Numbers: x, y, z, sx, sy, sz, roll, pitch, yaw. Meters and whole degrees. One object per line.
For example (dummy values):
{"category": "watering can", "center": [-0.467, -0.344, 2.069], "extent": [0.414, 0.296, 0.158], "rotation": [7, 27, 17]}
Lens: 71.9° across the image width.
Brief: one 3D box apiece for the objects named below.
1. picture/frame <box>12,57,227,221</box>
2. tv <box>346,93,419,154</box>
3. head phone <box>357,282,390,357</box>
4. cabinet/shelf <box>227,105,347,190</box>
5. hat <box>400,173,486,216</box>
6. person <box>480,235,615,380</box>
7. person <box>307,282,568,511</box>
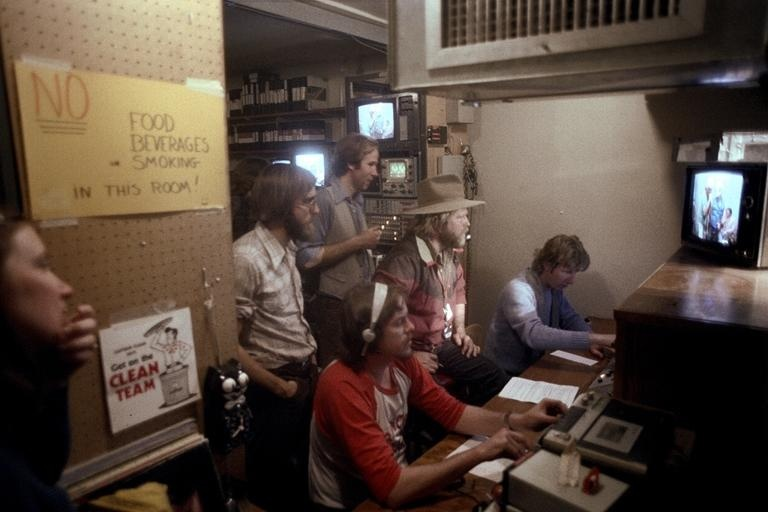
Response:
{"category": "picture/frame", "center": [-0.742, -0.336, 1.592], "extent": [0.020, 0.423, 0.644], "rotation": [11, 13, 33]}
{"category": "tv", "center": [0.024, -1.113, 4.455], "extent": [0.584, 0.422, 0.316], "rotation": [7, 18, 23]}
{"category": "head phone", "center": [-0.036, 0.227, 2.003], "extent": [0.056, 0.209, 0.210], "rotation": [11, 6, 0]}
{"category": "cabinet/shelf", "center": [-1.288, -1.238, 6.355], "extent": [1.375, 1.165, 0.441], "rotation": [-12, 7, -35]}
{"category": "hat", "center": [0.362, -0.404, 3.168], "extent": [0.528, 0.205, 0.479], "rotation": [-8, 15, -34]}
{"category": "person", "center": [0.938, 0.262, 3.354], "extent": [0.877, 0.958, 0.725], "rotation": [10, 15, 40]}
{"category": "person", "center": [0.226, 0.491, 2.200], "extent": [1.076, 0.869, 0.768], "rotation": [-2, 12, 13]}
